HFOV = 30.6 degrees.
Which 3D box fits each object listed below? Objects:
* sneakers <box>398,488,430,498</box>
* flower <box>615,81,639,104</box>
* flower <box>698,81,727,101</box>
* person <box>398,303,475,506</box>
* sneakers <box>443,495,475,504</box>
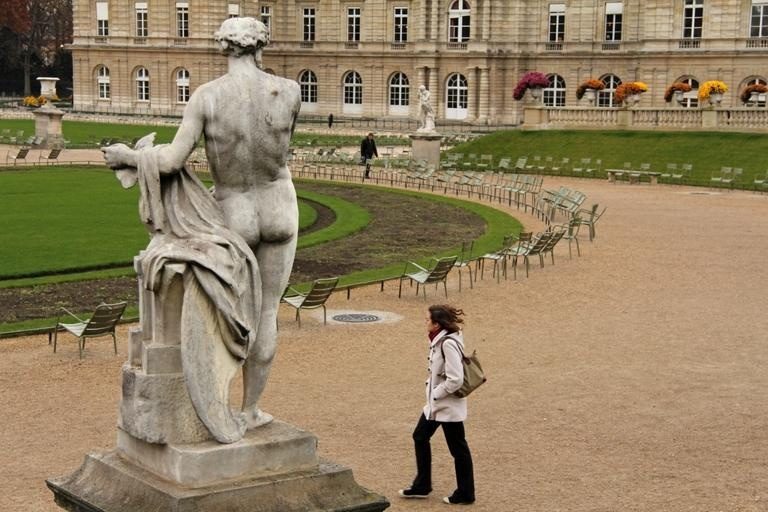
[{"bbox_3d":[0.506,3.942,23.439,0.517,0.192,0.174,3,3,6],"label":"sneakers"},{"bbox_3d":[10.156,-6.893,58.746,1.016,0.845,1.110,2,4,13],"label":"flower"},{"bbox_3d":[13.503,-6.895,57.904,1.232,0.608,1.074,-1,5,23],"label":"flower"},{"bbox_3d":[1.015,2.452,23.338,1.173,3.255,0.752,3,10,0],"label":"person"},{"bbox_3d":[1.260,4.041,23.369,0.536,0.188,0.178,2,3,11],"label":"sneakers"}]
